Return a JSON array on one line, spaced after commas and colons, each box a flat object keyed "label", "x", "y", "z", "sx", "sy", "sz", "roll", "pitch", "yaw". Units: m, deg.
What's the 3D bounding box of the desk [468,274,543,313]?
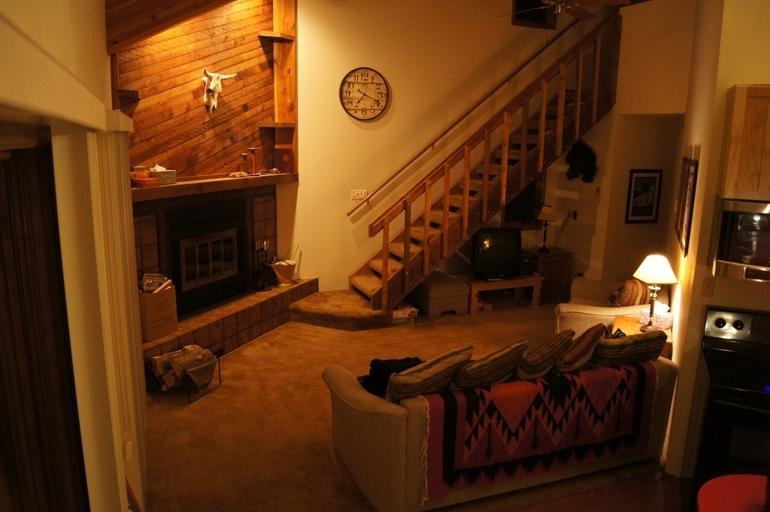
[{"label": "desk", "x": 1.658, "y": 0.520, "z": 8.215, "sx": 1.129, "sy": 0.503, "sz": 0.232, "roll": -1, "pitch": 3, "yaw": -24}]

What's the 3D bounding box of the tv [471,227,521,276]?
[{"label": "tv", "x": 1.511, "y": -0.063, "z": 8.213, "sx": 0.642, "sy": 0.576, "sz": 0.356, "roll": -4, "pitch": 9, "yaw": -23}]

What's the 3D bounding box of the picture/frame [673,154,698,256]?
[{"label": "picture/frame", "x": 2.559, "y": -0.407, "z": 5.082, "sx": 0.043, "sy": 0.635, "sz": 1.155, "roll": 5, "pitch": 10, "yaw": 23}]

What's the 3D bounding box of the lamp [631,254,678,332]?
[{"label": "lamp", "x": 2.559, "y": 0.305, "z": 5.674, "sx": 0.344, "sy": 0.639, "sz": 0.971, "roll": 2, "pitch": 3, "yaw": 22}]

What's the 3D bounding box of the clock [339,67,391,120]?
[{"label": "clock", "x": -0.307, "y": -2.179, "z": 7.931, "sx": 0.713, "sy": 0.712, "sz": 0.126, "roll": -5, "pitch": 19, "yaw": -16}]

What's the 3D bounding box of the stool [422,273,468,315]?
[{"label": "stool", "x": 0.790, "y": 0.494, "z": 8.015, "sx": 0.516, "sy": 0.311, "sz": 0.523, "roll": -2, "pitch": 11, "yaw": -13}]

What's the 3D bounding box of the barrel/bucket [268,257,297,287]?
[{"label": "barrel/bucket", "x": -1.326, "y": 0.223, "z": 7.705, "sx": 0.346, "sy": 0.278, "sz": 0.284, "roll": -4, "pitch": 9, "yaw": -10}]

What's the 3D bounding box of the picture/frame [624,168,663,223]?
[{"label": "picture/frame", "x": 3.744, "y": -0.866, "z": 8.646, "sx": 0.611, "sy": 0.784, "sz": 0.142, "roll": -1, "pitch": 3, "yaw": -22}]

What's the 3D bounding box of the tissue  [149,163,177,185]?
[{"label": "tissue ", "x": -2.214, "y": -0.812, "z": 5.972, "sx": 0.251, "sy": 0.149, "sz": 0.250, "roll": -5, "pitch": 14, "yaw": -38}]
